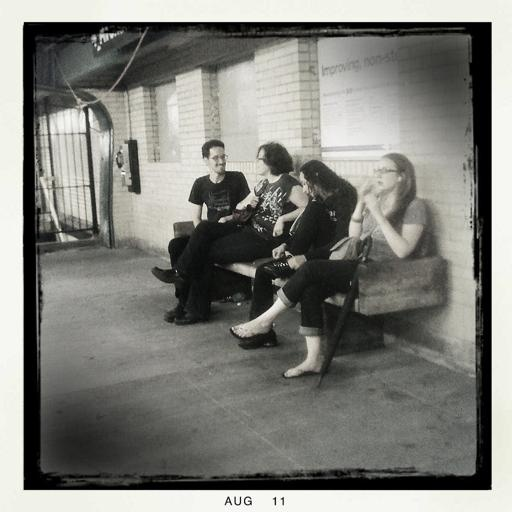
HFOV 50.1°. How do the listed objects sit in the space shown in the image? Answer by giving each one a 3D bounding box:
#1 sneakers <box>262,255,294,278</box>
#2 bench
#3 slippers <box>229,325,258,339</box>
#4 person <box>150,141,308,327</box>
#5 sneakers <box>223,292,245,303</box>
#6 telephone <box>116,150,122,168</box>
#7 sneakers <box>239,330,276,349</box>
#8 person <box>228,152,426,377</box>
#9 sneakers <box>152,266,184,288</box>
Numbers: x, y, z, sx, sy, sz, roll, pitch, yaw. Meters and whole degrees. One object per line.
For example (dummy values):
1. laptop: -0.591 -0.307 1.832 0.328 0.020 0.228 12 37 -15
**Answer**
1. sneakers: 0.149 0.073 3.625 0.232 0.100 0.110 -5 -10 14
2. bench: 0.383 0.200 3.799 1.788 0.653 0.634 8 18 42
3. slippers: -0.101 0.528 3.760 0.153 0.053 0.098 1 47 -25
4. person: -0.250 -0.221 4.476 1.132 1.628 0.647 0 14 -24
5. sneakers: -0.203 0.387 5.006 0.165 0.079 0.102 -19 1 11
6. telephone: -2.084 -1.474 8.318 0.109 0.269 0.249 -8 13 -20
7. sneakers: 0.013 0.591 3.889 0.263 0.139 0.115 -1 4 -24
8. person: 0.516 0.030 3.544 1.082 1.638 0.636 9 -25 1
9. sneakers: -0.778 0.191 4.833 0.291 0.150 0.101 34 -2 -9
